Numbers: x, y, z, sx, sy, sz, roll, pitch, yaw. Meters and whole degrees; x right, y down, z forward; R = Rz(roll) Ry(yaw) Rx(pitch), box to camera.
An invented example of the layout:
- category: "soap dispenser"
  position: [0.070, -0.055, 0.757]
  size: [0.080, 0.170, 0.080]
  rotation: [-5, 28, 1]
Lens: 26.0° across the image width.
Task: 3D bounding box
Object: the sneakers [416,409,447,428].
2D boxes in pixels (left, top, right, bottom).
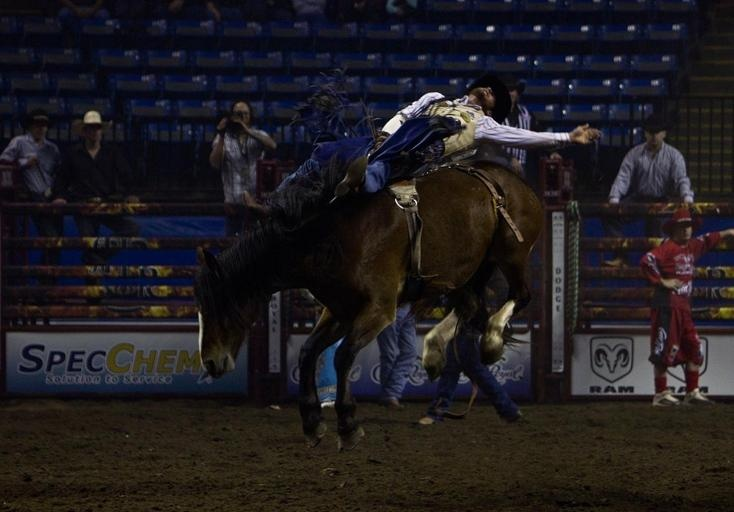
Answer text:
- category: "sneakers"
  position: [0.932, 2.383, 23.438]
  size: [0.542, 0.172, 0.240]
  rotation: [-20, -46, 34]

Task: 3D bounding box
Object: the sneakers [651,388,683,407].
- category: "sneakers"
  position: [4.569, 2.194, 24.535]
  size: [0.412, 0.173, 0.224]
  rotation: [0, 1, -7]

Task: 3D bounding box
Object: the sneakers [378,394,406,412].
- category: "sneakers"
  position: [0.357, 2.258, 24.419]
  size: [0.310, 0.099, 0.216]
  rotation: [15, -2, 2]

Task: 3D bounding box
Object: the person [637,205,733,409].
- category: "person"
  position: [4.795, 0.753, 24.765]
  size: [1.088, 3.117, 0.660]
  rotation: [-1, 0, 7]

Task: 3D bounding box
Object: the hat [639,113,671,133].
- category: "hat"
  position: [5.006, -2.361, 27.874]
  size: [0.537, 0.236, 0.650]
  rotation: [0, 6, 10]

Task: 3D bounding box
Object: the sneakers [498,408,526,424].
- category: "sneakers"
  position: [2.071, 2.334, 23.098]
  size: [0.375, 0.191, 0.258]
  rotation: [-6, -9, 1]

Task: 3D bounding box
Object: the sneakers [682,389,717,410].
- category: "sneakers"
  position: [5.075, 2.205, 24.509]
  size: [0.476, 0.194, 0.232]
  rotation: [0, 1, 4]

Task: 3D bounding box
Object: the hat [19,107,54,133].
- category: "hat"
  position: [-5.609, -2.357, 27.292]
  size: [0.575, 0.213, 0.597]
  rotation: [-1, 1, 7]

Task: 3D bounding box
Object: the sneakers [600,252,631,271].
- category: "sneakers"
  position: [4.106, 0.074, 26.756]
  size: [0.307, 0.182, 0.427]
  rotation: [-2, 5, 31]
